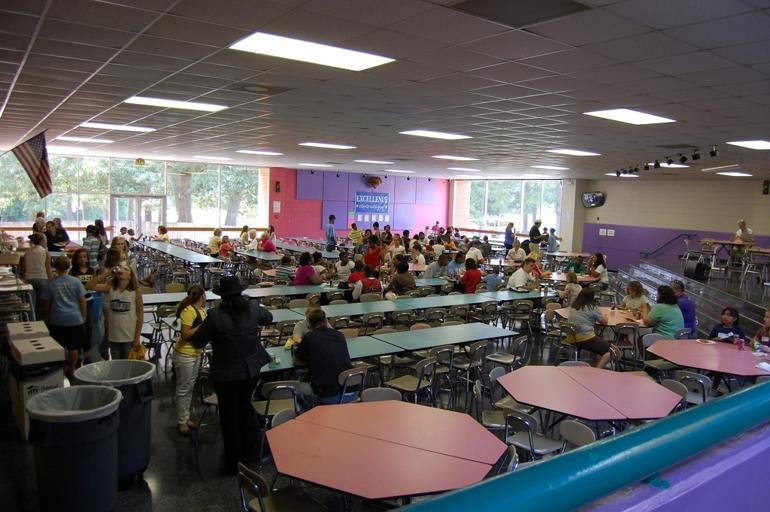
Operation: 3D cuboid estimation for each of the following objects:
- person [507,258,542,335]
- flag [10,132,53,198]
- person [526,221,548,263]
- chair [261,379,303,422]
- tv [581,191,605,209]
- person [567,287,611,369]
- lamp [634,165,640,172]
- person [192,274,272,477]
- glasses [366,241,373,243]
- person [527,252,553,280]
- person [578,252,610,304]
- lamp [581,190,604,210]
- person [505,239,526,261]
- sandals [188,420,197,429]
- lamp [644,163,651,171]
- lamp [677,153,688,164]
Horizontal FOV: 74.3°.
[{"bbox_3d":[3.166,0.740,11.659,0.758,1.325,0.792,15,15,37],"label":"person"},{"bbox_3d":[-8.642,-2.285,12.460,0.773,1.746,1.615,0,-1,-35],"label":"flag"},{"bbox_3d":[5.843,-0.389,19.432,0.641,1.859,0.671,-2,17,-1],"label":"person"},{"bbox_3d":[-1.151,1.636,5.699,0.430,0.653,0.463,-2,39,-18],"label":"chair"},{"bbox_3d":[9.390,-2.459,22.832,0.711,0.652,0.941,22,-10,-5],"label":"tv"},{"bbox_3d":[3.281,1.129,8.005,0.662,1.237,0.899,0,0,-8],"label":"person"},{"bbox_3d":[8.032,-2.724,16.142,0.193,0.076,0.328,7,-11,9],"label":"lamp"},{"bbox_3d":[-1.669,1.325,5.624,0.796,2.145,0.284,0,-1,-19],"label":"person"},{"bbox_3d":[-0.401,-0.337,13.304,0.094,0.066,0.065,-7,0,39],"label":"glasses"},{"bbox_3d":[4.470,0.293,14.574,0.897,0.846,0.563,-6,9,0],"label":"person"},{"bbox_3d":[5.457,0.605,13.132,0.771,1.261,0.528,-6,3,26],"label":"person"},{"bbox_3d":[9.427,-2.473,22.926,0.452,0.736,1.065,0,-1,-42],"label":"lamp"},{"bbox_3d":[4.390,-0.165,17.054,0.823,0.797,0.492,2,3,39],"label":"person"},{"bbox_3d":[-2.473,2.142,6.510,0.093,0.051,0.149,1,14,-44],"label":"sandals"},{"bbox_3d":[7.978,-2.668,15.418,0.204,0.365,0.201,6,21,26],"label":"lamp"},{"bbox_3d":[7.492,-2.409,12.754,0.274,0.339,0.095,5,-1,8],"label":"lamp"}]
